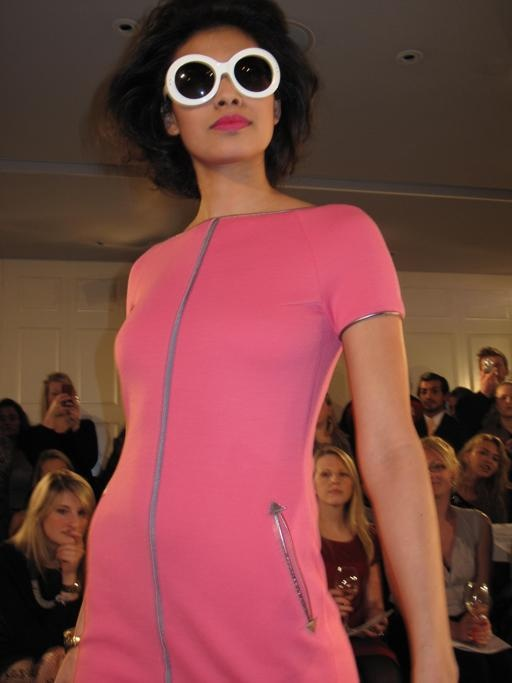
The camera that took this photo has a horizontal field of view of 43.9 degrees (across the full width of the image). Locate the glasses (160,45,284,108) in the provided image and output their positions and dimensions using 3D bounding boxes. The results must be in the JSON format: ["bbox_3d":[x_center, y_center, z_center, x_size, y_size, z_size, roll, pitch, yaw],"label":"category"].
[{"bbox_3d":[-0.058,-0.294,0.699,0.132,0.047,0.120,-18,33,-26],"label":"glasses"}]

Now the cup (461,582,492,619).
[{"bbox_3d":[0.949,1.125,2.727,0.105,0.166,0.333,-5,-8,18],"label":"cup"}]
